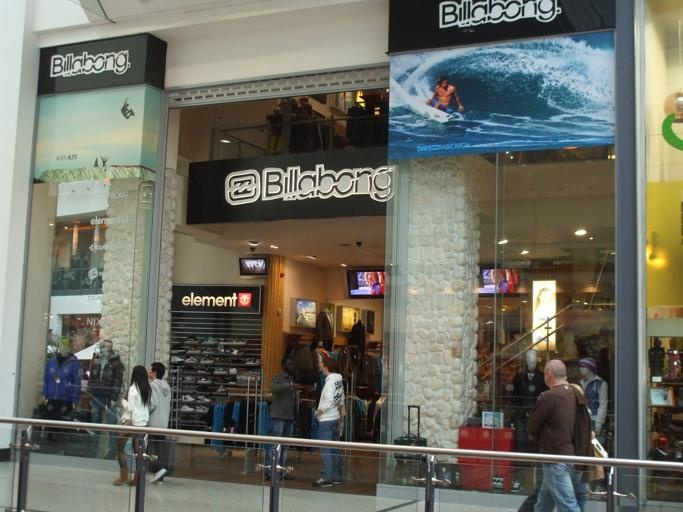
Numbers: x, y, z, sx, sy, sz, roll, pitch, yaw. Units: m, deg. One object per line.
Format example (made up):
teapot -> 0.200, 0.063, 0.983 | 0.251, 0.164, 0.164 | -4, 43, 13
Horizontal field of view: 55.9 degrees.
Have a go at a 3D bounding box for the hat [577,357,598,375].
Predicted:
hat -> 2.814, 1.242, 7.311 | 0.182, 0.153, 0.146 | 1, -5, 17

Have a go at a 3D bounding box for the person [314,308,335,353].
person -> -0.440, 1.794, 15.664 | 0.463, 0.992, 0.878 | 0, -7, -2

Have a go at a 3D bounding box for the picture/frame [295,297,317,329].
picture/frame -> -0.860, 1.397, 15.801 | 0.212, 0.691, 1.036 | -3, -7, 20

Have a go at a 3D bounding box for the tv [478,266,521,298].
tv -> 1.958, 0.318, 7.876 | 0.381, 0.275, 0.054 | -1, -15, 26

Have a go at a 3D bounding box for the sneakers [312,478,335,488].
sneakers -> -0.144, 1.768, 5.017 | 0.191, 0.083, 0.067 | 7, -8, -10

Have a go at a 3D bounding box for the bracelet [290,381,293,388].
bracelet -> -0.753, 1.896, 9.536 | 0.017, 0.065, 0.047 | -3, 3, 23

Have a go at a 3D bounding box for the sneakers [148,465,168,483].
sneakers -> -1.552, 1.858, 5.512 | 0.208, 0.088, 0.076 | -36, -22, 17

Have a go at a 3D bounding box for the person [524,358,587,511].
person -> 2.031, 1.515, 6.024 | 0.545, 1.078, 2.942 | -2, -7, 17

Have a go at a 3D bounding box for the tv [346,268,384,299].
tv -> 0.606, 0.670, 15.933 | 0.734, 0.508, 0.075 | 0, -7, 19

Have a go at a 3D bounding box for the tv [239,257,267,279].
tv -> -2.039, 0.257, 14.964 | 0.492, 0.353, 0.068 | 0, -8, 14

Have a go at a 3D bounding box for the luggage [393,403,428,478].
luggage -> 0.526, 1.469, 5.101 | 0.191, 0.574, 0.199 | 3, -11, 8

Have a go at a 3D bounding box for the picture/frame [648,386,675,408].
picture/frame -> 3.497, 1.537, 7.021 | 0.245, 0.215, 0.033 | -1, -8, 16

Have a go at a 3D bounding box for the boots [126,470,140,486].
boots -> -1.803, 1.915, 5.544 | 0.123, 0.121, 0.057 | 1, -11, 12
